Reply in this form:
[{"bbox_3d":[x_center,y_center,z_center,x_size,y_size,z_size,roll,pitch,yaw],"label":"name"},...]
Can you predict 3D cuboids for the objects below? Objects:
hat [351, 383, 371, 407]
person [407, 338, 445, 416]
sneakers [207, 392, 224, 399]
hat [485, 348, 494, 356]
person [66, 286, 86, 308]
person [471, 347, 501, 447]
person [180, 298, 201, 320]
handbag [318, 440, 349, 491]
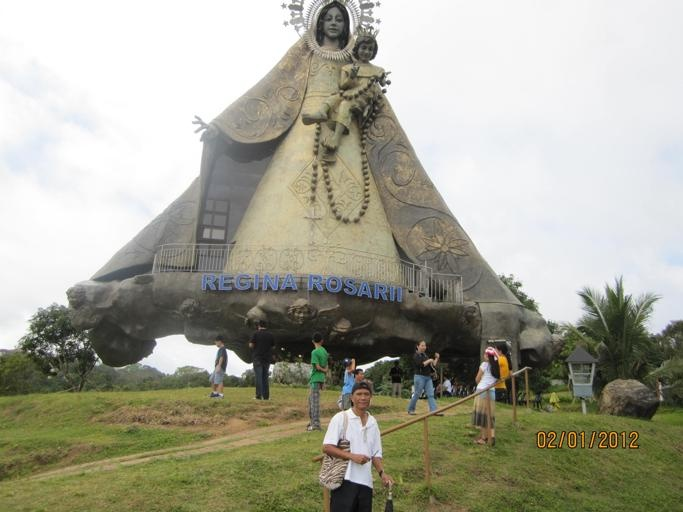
[{"bbox_3d":[0.258,1.822,6.590,0.267,0.370,0.286,4,-35,0],"label":"hat"},{"bbox_3d":[2.092,3.150,12.833,0.872,1.804,0.659,-4,-9,19],"label":"person"},{"bbox_3d":[-3.977,4.401,15.659,0.502,0.237,0.197,-2,-36,21],"label":"sneakers"},{"bbox_3d":[3.227,2.095,10.844,0.180,0.157,0.276,-4,-9,22],"label":"hat"},{"bbox_3d":[-11.894,1.804,22.316,0.905,1.025,0.351,-5,-9,30],"label":"person"},{"bbox_3d":[3.239,3.169,11.242,0.639,2.186,1.294,-2,-8,15],"label":"person"},{"bbox_3d":[-6.427,2.215,21.082,0.944,0.844,0.349,-3,-8,19],"label":"person"},{"bbox_3d":[-0.129,2.805,6.413,0.186,0.481,0.440,6,-10,-38],"label":"handbag"}]
